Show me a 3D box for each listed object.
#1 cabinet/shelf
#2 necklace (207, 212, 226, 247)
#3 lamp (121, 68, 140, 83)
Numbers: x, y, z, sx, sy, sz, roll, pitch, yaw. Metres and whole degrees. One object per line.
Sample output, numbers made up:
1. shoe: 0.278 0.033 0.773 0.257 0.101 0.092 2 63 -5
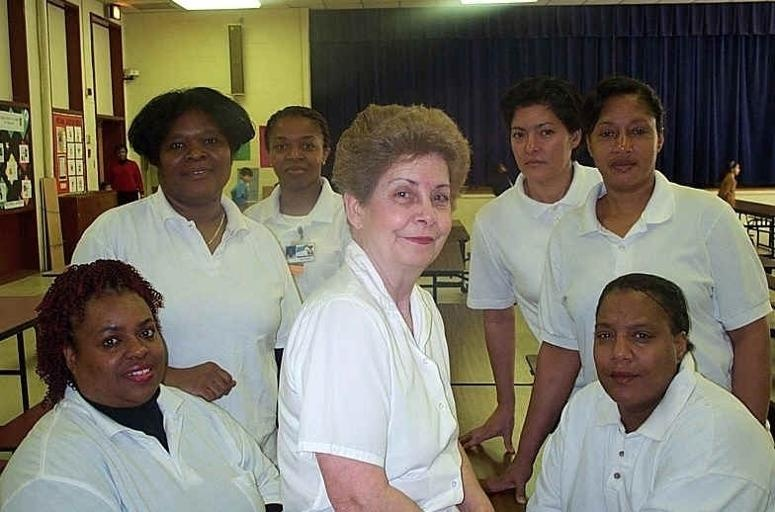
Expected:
1. cabinet/shelf: -4.852 -0.492 10.709 0.429 1.121 1.261 1 3 -11
2. necklace: -0.743 -0.117 2.936 0.086 0.129 0.011 25 -32 -6
3. lamp: -4.591 -3.253 12.018 0.262 0.173 0.193 1 4 37
